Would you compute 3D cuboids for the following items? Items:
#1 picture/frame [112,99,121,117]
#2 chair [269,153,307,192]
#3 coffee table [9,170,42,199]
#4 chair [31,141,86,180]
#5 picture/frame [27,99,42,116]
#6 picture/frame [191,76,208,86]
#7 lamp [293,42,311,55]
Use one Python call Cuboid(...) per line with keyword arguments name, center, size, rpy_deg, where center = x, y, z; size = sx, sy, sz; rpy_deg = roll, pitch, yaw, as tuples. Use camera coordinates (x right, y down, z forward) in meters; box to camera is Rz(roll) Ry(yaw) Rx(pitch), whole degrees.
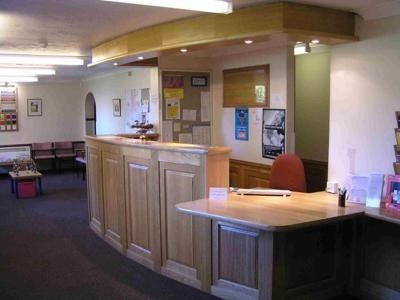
Cuboid(name="picture/frame", center=(-2.457, -1.258, 9.006), size=(0.065, 0.664, 0.535), rpy_deg=(-1, 3, -37))
Cuboid(name="chair", center=(1.158, 0.279, 4.040), size=(0.435, 0.761, 0.469), rpy_deg=(0, 3, 14))
Cuboid(name="coffee table", center=(-4.566, 0.851, 7.953), size=(0.779, 0.612, 0.818), rpy_deg=(-2, 6, -36))
Cuboid(name="chair", center=(-5.175, 0.276, 11.164), size=(1.796, 1.095, 1.239), rpy_deg=(-4, 7, -22))
Cuboid(name="picture/frame", center=(-6.097, -1.557, 11.152), size=(0.578, 0.747, 0.053), rpy_deg=(-4, 7, -26))
Cuboid(name="picture/frame", center=(-0.008, -1.367, 6.090), size=(0.360, 0.209, 0.014), rpy_deg=(-4, 6, -20))
Cuboid(name="lamp", center=(1.642, -1.617, 4.879), size=(0.244, 0.109, 0.604), rpy_deg=(1, 7, 17))
